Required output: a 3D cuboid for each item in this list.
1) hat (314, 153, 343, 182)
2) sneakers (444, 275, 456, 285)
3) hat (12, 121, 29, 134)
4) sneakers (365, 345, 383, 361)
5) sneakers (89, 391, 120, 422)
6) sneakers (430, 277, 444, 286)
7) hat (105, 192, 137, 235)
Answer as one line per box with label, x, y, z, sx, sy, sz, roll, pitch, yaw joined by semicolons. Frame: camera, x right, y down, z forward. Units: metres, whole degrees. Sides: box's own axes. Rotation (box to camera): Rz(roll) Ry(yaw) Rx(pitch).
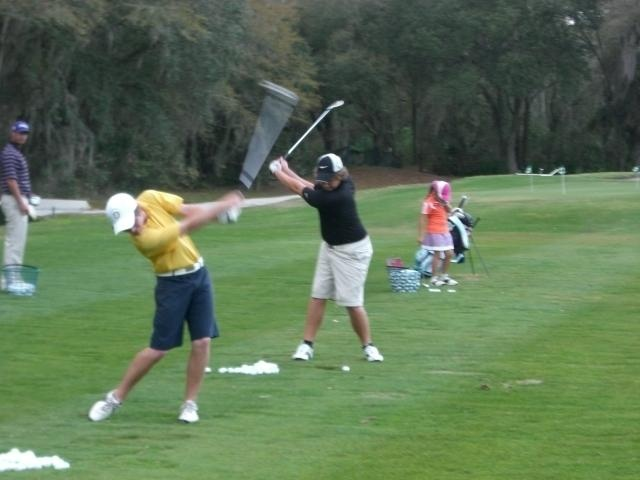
hat;0.157;-1.250;19.063;0.405;0.258;0.536;8;39;30
sneakers;2.765;0.811;23.687;0.285;0.206;0.547;1;6;15
hat;-5.739;-2.163;21.624;0.310;0.185;0.299;3;5;36
sneakers;0.888;1.921;19.126;0.200;0.143;0.384;-3;3;-32
sneakers;-3.278;2.577;17.599;0.301;0.238;0.636;3;37;40
sneakers;2.455;0.865;23.495;0.253;0.158;0.352;0;6;2
hat;-2.999;-0.429;17.208;0.512;0.595;0.383;-14;-40;27
